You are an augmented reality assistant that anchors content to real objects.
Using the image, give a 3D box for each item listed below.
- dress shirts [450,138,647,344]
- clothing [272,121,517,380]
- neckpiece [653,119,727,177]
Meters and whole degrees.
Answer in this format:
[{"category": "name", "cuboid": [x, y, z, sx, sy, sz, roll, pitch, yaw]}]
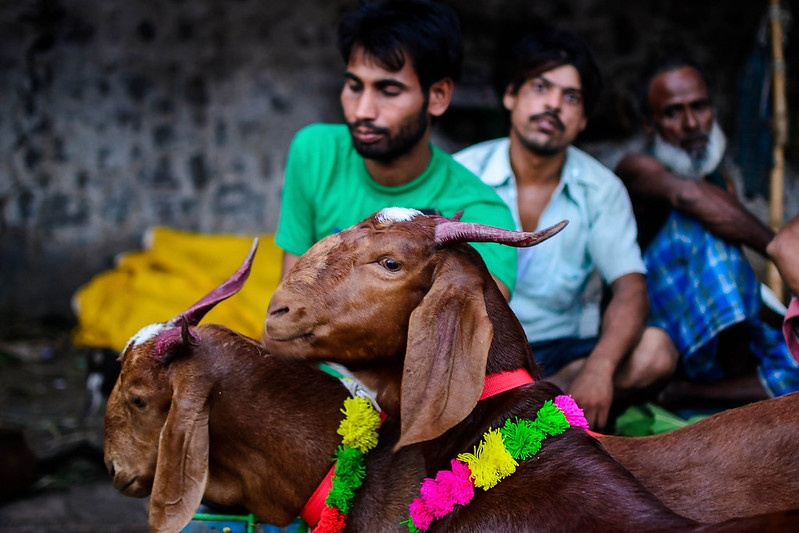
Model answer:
[{"category": "dress shirts", "cuboid": [1.024, -0.151, 6.709, 1.255, 1.071, 0.529, 3, 7, 16]}, {"category": "clothing", "cuboid": [-0.133, 0.141, 7.015, 1.863, 1.453, 0.976, 15, 20, 12]}, {"category": "neckpiece", "cuboid": [2.051, -0.752, 6.996, 0.347, 0.454, 0.175, -9, -12, 11]}]
